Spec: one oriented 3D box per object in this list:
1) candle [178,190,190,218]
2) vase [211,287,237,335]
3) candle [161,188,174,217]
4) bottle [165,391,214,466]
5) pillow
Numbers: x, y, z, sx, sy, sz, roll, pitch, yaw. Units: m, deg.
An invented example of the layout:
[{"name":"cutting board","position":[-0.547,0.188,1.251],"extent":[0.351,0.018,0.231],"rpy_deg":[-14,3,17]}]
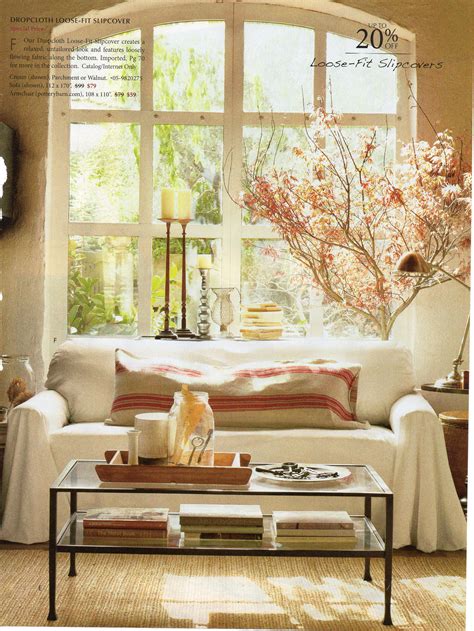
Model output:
[{"name":"candle","position":[-0.282,-0.581,3.339],"extent":[0.066,0.158,0.078],"rpy_deg":[1,1,-11]},{"name":"vase","position":[-0.075,-0.020,3.461],"extent":[0.122,0.263,0.105],"rpy_deg":[1,1,-1]},{"name":"candle","position":[-0.361,-0.579,3.295],"extent":[0.059,0.172,0.112],"rpy_deg":[1,0,-2]},{"name":"bottle","position":[-0.133,0.327,1.829],"extent":[0.132,0.227,0.132],"rpy_deg":[1,1,0]},{"name":"pillow","position":[-0.002,0.348,2.768],"extent":[1.069,0.340,0.216],"rpy_deg":[1,-18,-5]}]
